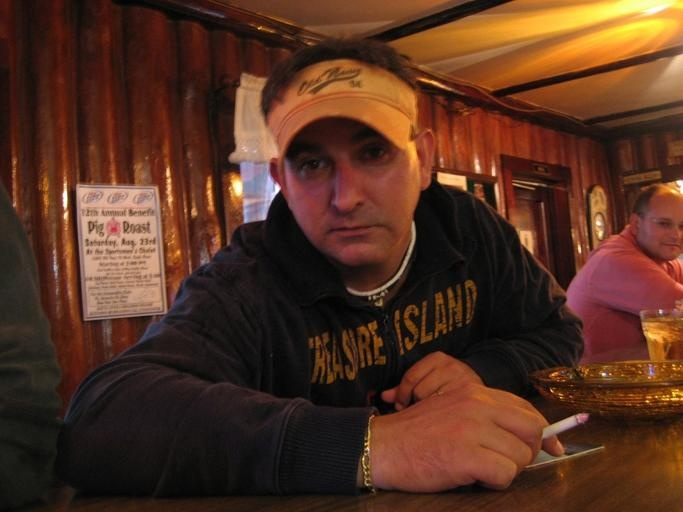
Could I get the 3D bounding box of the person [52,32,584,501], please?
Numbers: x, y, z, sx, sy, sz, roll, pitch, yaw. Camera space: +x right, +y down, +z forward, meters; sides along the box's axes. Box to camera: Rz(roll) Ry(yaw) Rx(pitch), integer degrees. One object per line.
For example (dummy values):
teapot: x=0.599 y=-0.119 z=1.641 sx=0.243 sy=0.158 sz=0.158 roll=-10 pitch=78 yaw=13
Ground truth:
person: x=0.018 y=0.083 z=1.765 sx=0.905 sy=0.671 sz=1.304 roll=-1 pitch=-9 yaw=5
